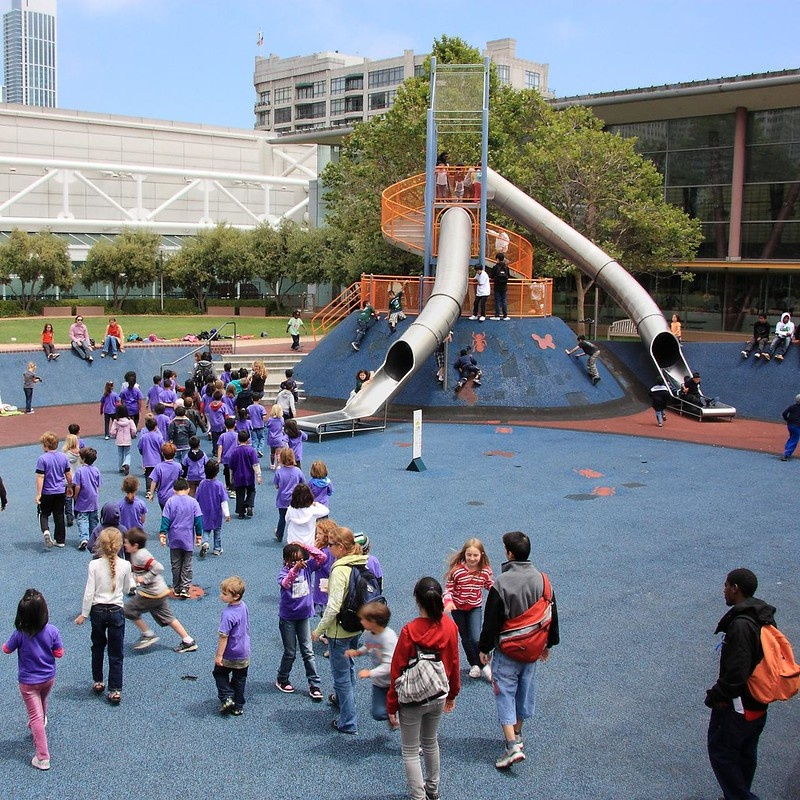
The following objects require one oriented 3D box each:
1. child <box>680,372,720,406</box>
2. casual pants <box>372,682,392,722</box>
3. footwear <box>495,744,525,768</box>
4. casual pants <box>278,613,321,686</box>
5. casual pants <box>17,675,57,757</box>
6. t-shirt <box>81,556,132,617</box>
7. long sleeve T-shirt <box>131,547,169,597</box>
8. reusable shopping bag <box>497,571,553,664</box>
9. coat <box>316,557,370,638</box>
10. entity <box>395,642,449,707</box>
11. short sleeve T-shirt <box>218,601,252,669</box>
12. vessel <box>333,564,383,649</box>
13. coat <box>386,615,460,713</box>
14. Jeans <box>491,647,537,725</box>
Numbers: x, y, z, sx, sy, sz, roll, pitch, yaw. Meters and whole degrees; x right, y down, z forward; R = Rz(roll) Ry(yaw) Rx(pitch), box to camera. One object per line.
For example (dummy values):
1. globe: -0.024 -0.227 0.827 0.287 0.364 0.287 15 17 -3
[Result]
1. child: 9.247 -0.284 26.525 0.788 0.627 1.168 -2 13 -19
2. casual pants: -0.155 2.500 7.074 0.190 0.303 0.112 -2 -6 21
3. footwear: 0.952 3.004 7.261 0.135 0.163 0.367 1 -25 -36
4. casual pants: -1.032 2.503 8.667 0.429 0.858 0.645 -1 10 -7
5. casual pants: -3.075 2.705 7.297 0.234 0.673 0.376 -3 10 -14
6. t-shirt: -2.858 1.839 8.383 0.504 0.580 0.299 2 -9 -37
7. long sleeve T-shirt: -2.618 1.810 8.951 0.339 0.618 0.235 -3 10 -17
8. reusable shopping bag: 1.081 1.857 7.457 0.510 0.648 0.735 5 15 21
9. coat: -0.557 1.752 7.542 0.578 0.730 0.269 -7 12 -36
10. entity: 0.150 2.039 6.390 0.472 0.475 0.270 1 -17 -26
11. short sleeve T-shirt: -1.500 2.184 7.906 0.151 0.653 0.354 9 14 43
12. vessel: -0.362 1.760 7.634 0.339 0.534 0.421 -1 -5 27
13. coat: 0.227 1.985 6.576 0.540 0.659 0.283 0 18 -18
14. Jeans: 1.010 2.468 7.423 0.387 0.820 0.268 -9 13 -8
